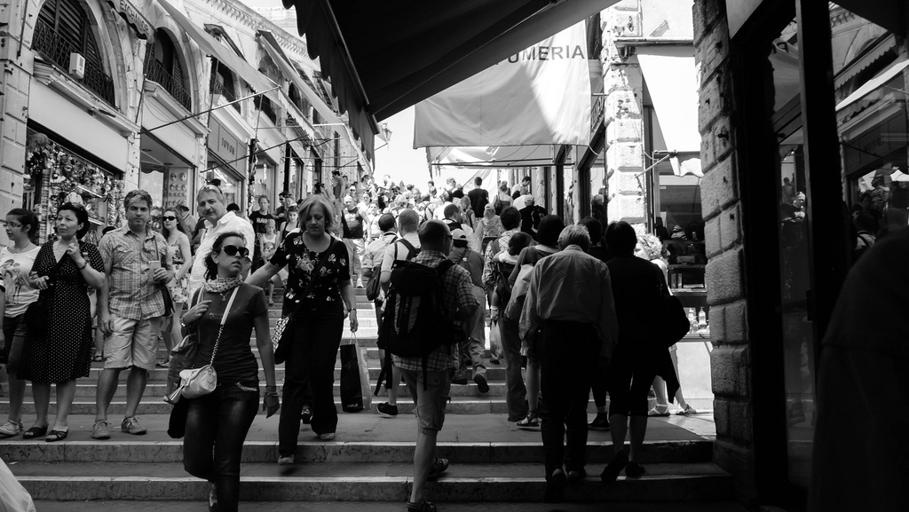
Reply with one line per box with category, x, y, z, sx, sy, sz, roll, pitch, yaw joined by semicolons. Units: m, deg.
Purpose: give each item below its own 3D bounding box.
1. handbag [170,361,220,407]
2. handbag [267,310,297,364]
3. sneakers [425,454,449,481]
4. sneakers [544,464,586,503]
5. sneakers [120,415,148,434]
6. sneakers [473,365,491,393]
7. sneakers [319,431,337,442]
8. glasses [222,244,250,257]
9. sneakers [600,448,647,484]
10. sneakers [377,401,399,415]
handbag;-2.745;1.294;8.596;0.633;0.440;0.339;-16;-35;30
handbag;-2.105;1.008;9.947;0.235;0.579;0.267;4;-12;-12
sneakers;-0.200;2.516;9.615;0.153;0.189;0.466;6;9;34
sneakers;1.224;2.574;9.202;0.245;0.276;0.660;-1;-9;11
sneakers;-4.191;2.196;10.616;0.466;0.183;0.160;0;-1;35
sneakers;0.433;1.899;12.267;0.181;0.454;0.200;-14;25;21
sneakers;-1.621;2.284;10.297;0.222;0.091;0.094;-1;23;3
glasses;-2.380;-0.045;8.843;0.286;0.125;0.124;9;-13;-38
sneakers;1.986;2.469;9.546;0.260;0.290;0.699;3;-7;24
sneakers;-0.956;2.165;11.558;0.288;0.121;0.142;9;2;21
